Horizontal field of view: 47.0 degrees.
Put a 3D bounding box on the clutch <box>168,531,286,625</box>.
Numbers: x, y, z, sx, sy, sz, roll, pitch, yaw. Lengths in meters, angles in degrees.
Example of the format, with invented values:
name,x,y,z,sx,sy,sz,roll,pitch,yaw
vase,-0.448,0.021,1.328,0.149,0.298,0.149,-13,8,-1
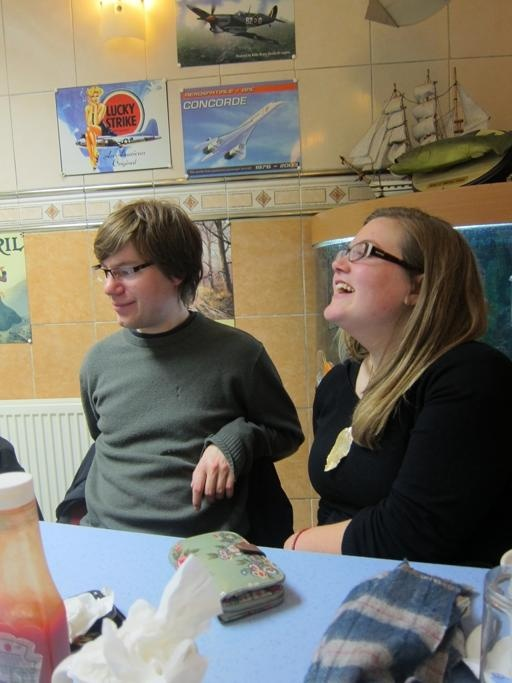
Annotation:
name,x,y,z,sx,sy,sz,roll,pitch,yaw
clutch,-0.039,0.281,0.736,0.107,0.040,0.147,-5,13,-36

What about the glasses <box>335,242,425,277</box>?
name,x,y,z,sx,sy,sz,roll,pitch,yaw
glasses,0.232,-0.158,1.108,0.091,0.025,0.084,19,-6,-17

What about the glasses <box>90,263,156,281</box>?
name,x,y,z,sx,sy,sz,roll,pitch,yaw
glasses,-0.311,-0.168,1.406,0.164,0.041,0.166,3,8,34

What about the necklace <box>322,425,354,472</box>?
name,x,y,z,sx,sy,sz,roll,pitch,yaw
necklace,0.150,0.192,1.093,0.015,0.035,0.102,-21,33,27

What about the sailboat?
name,x,y,z,sx,sy,sz,roll,pitch,yaw
sailboat,0.557,-0.704,2.051,0.228,0.379,0.528,-7,12,-38
